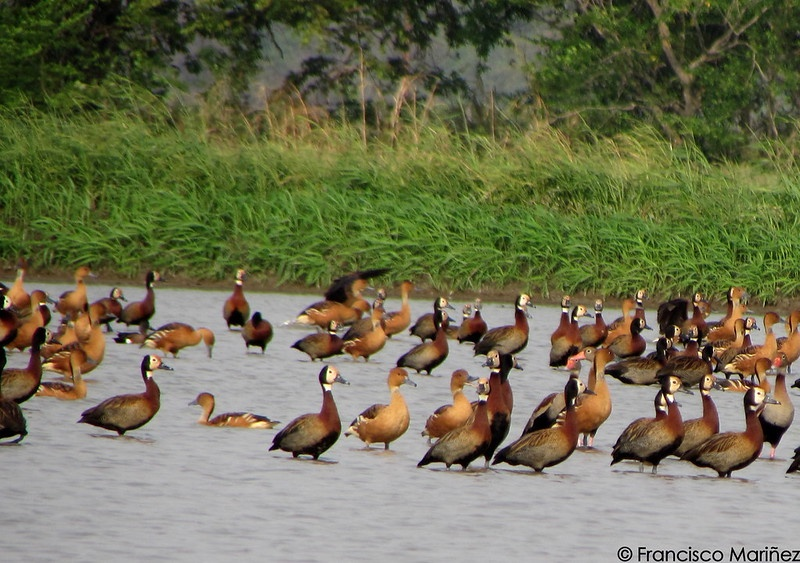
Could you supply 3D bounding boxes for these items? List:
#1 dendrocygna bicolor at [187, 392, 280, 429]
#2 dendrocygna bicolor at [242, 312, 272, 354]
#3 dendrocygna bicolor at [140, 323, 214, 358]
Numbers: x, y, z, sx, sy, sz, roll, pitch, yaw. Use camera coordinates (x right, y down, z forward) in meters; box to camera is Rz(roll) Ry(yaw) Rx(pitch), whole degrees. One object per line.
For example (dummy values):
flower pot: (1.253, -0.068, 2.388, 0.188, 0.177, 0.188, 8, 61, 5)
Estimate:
dendrocygna bicolor: (-2.058, 1.642, 20.037, 1.213, 0.512, 0.346, -1, -9, 9)
dendrocygna bicolor: (-2.055, 0.759, 23.099, 0.466, 0.636, 0.858, 6, -5, -3)
dendrocygna bicolor: (-3.131, 0.824, 22.665, 1.035, 0.615, 0.502, 6, 7, 11)
